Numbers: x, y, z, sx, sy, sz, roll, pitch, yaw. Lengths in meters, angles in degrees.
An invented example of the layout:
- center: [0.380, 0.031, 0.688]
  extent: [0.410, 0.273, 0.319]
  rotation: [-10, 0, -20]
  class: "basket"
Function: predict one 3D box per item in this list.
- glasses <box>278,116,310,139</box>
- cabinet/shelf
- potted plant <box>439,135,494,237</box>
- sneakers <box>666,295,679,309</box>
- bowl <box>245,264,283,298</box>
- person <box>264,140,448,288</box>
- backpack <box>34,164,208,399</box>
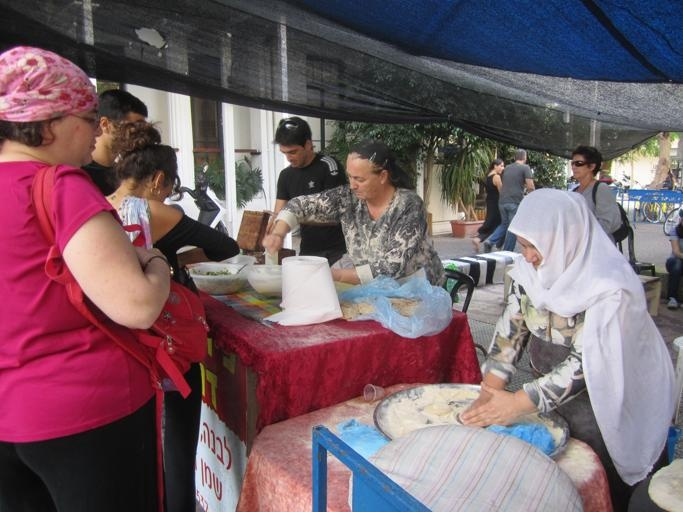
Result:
- center: [-0.335, -0.894, 3.916]
  extent: [0.143, 0.182, 0.193]
  rotation: [-8, 22, -28]
  class: "glasses"
- center: [-0.033, 0.427, 2.607]
  extent: [0.987, 0.652, 1.194]
  rotation: [-6, 15, -23]
  class: "cabinet/shelf"
- center: [2.480, -1.670, 12.230]
  extent: [1.084, 1.858, 1.082]
  rotation: [-11, 14, -39]
  class: "potted plant"
- center: [3.650, 0.518, 6.304]
  extent: [0.079, 0.099, 0.227]
  rotation: [-8, 18, 17]
  class: "sneakers"
- center: [-0.396, 0.122, 2.967]
  extent: [0.158, 0.089, 0.164]
  rotation: [0, 9, 0]
  class: "bowl"
- center: [0.035, -0.244, 3.064]
  extent: [0.781, 0.721, 0.501]
  rotation: [4, 13, 26]
  class: "person"
- center: [-0.693, 0.092, 1.780]
  extent: [0.389, 0.704, 0.588]
  rotation: [-23, 46, -18]
  class: "backpack"
